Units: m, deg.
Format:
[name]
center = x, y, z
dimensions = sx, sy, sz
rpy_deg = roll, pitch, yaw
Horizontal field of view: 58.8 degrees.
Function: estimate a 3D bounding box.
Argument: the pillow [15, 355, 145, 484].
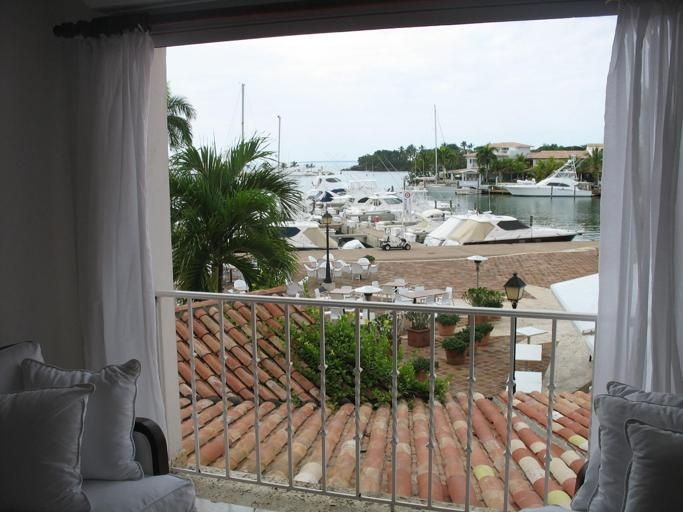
[pillow]
center = -1.222, 0.782, 2.821
dimensions = 0.543, 0.570, 0.216
rpy_deg = 1, -3, 7
